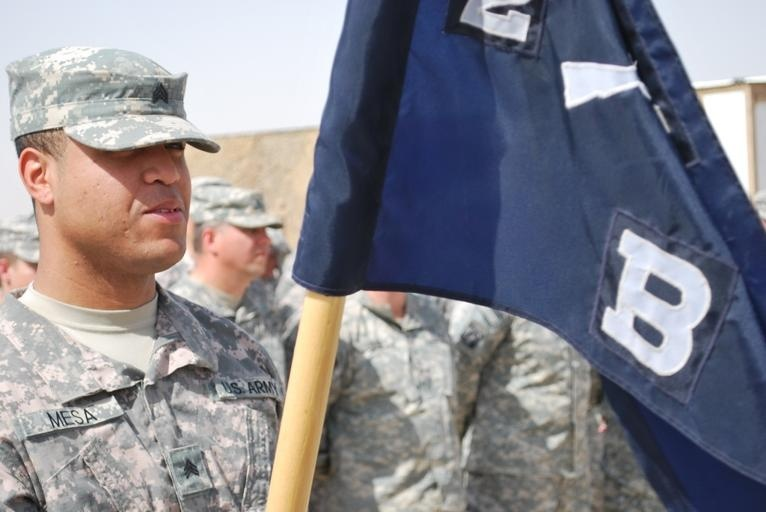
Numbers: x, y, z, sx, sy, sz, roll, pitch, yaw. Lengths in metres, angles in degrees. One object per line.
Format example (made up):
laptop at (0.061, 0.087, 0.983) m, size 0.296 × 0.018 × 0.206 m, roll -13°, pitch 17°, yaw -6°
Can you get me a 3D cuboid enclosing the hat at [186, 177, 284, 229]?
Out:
hat at (-0.734, -0.239, 6.534) m, size 0.356 × 0.102 × 0.242 m, roll 16°, pitch 12°, yaw 26°
